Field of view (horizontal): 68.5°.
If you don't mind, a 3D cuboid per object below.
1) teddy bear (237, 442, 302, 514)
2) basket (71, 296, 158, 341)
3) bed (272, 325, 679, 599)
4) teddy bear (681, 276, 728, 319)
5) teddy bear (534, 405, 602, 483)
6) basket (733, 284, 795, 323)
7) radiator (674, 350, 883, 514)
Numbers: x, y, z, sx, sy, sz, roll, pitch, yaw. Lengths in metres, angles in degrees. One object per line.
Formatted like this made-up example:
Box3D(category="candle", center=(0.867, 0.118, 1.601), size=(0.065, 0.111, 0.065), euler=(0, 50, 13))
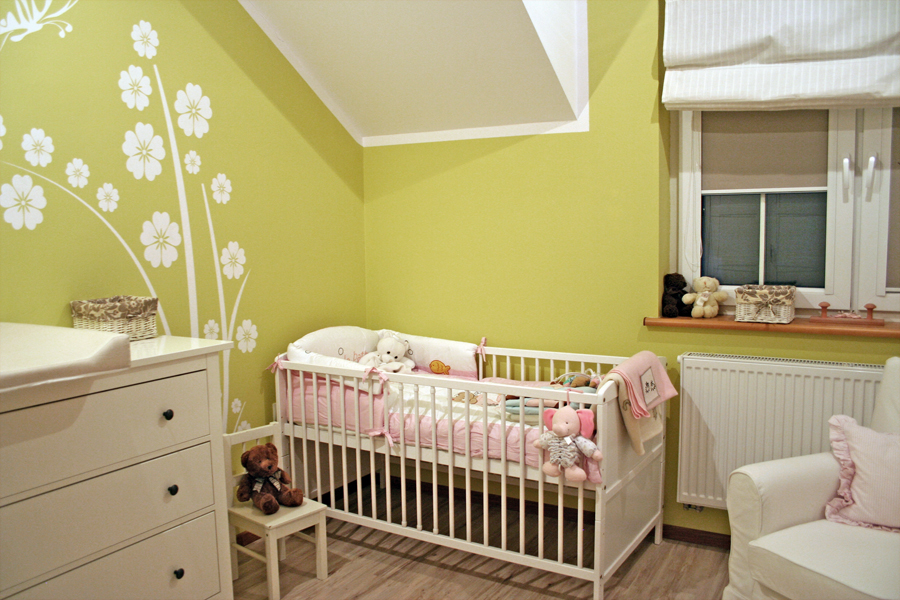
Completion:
Box3D(category="teddy bear", center=(-0.898, 0.850, 3.305), size=(0.289, 0.358, 0.336), euler=(-7, -5, 39))
Box3D(category="basket", center=(-1.483, 0.056, 2.944), size=(0.230, 0.156, 0.306), euler=(-2, 2, -36))
Box3D(category="bed", center=(0.247, 0.299, 3.643), size=(2.117, 1.289, 1.258), euler=(5, 15, 29))
Box3D(category="teddy bear", center=(1.378, -0.014, 3.573), size=(0.236, 0.217, 0.200), euler=(1, 5, 16))
Box3D(category="teddy bear", center=(0.548, 0.657, 3.003), size=(0.368, 0.380, 0.159), euler=(-1, 0, 42))
Box3D(category="basket", center=(1.628, 0.009, 3.450), size=(0.268, 0.237, 0.234), euler=(4, 7, 17))
Box3D(category="radiator", center=(1.599, 0.693, 3.405), size=(1.005, 0.807, 0.126), euler=(4, 1, -7))
